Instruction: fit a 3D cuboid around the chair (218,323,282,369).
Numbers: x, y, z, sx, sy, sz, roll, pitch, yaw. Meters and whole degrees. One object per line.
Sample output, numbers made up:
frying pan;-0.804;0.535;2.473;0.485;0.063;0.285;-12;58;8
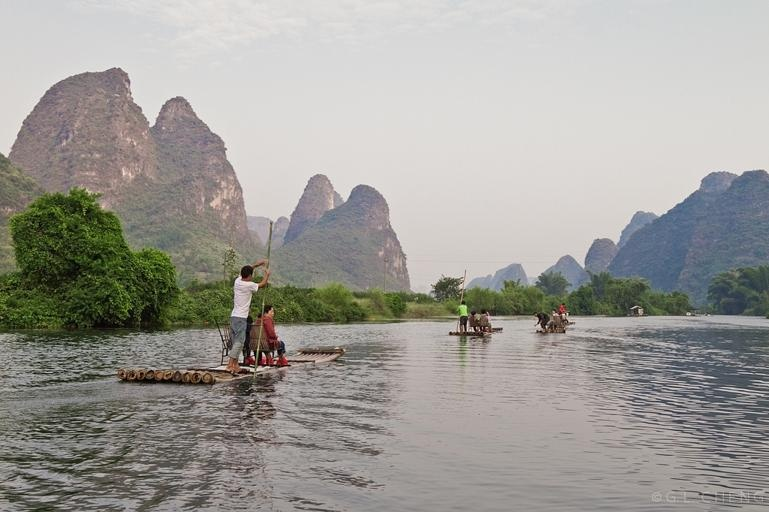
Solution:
chair;-5.092;3.455;26.409;2.188;1.332;0.894;1;-5;11
